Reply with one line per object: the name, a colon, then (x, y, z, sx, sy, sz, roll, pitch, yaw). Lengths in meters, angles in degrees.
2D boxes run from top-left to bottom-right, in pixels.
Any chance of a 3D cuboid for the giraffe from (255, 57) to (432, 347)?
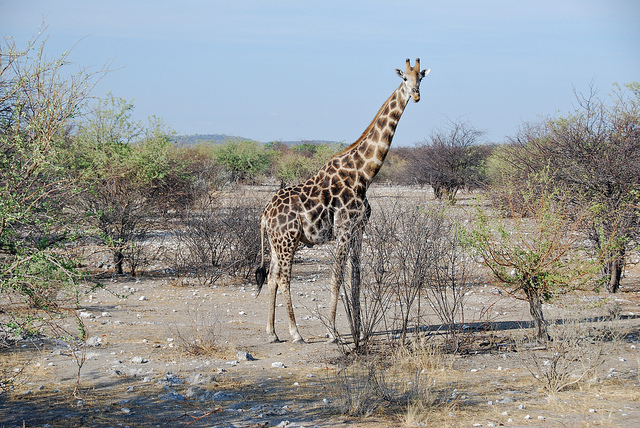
giraffe: (0.284, -0.210, 17.324, 3.369, 6.157, 2.918, -2, 0, -6)
